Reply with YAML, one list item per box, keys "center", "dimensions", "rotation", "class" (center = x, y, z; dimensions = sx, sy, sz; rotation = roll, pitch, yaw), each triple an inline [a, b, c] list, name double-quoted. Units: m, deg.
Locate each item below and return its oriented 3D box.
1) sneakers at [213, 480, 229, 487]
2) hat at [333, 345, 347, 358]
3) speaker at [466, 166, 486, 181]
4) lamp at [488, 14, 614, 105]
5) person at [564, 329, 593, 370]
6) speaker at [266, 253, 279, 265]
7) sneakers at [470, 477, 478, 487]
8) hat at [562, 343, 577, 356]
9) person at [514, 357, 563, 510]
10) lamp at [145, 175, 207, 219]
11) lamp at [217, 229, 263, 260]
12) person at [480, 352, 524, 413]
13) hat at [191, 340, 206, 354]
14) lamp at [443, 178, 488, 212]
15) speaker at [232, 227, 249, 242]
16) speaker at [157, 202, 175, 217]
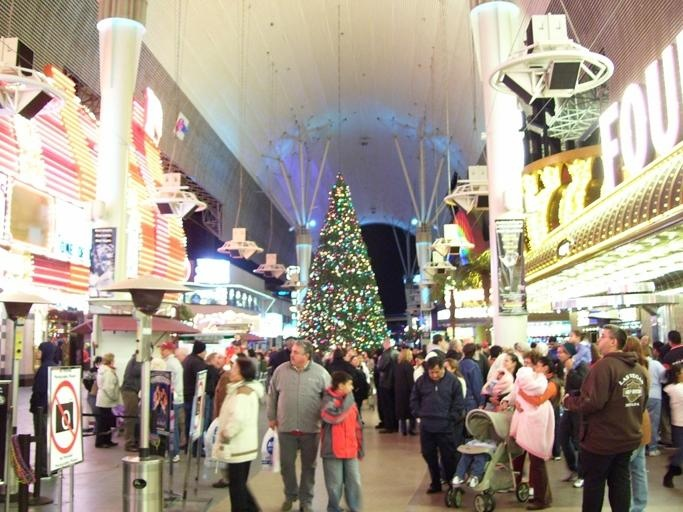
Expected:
- center: [-1.929, 3.635, 9.254]
  dimensions: [0.209, 0.090, 0.115]
  rotation: [2, -7, 13]
  class: "sneakers"
- center: [-0.012, 1.963, 11.883]
  dimensions: [0.233, 0.238, 0.230]
  rotation: [1, 3, -20]
  class: "hat"
- center: [3.914, -2.375, 16.652]
  dimensions: [0.435, 0.362, 0.473]
  rotation: [-1, 1, -5]
  class: "speaker"
- center: [3.610, -3.511, 10.255]
  dimensions: [1.837, 1.319, 1.942]
  rotation: [-9, 7, -5]
  class: "lamp"
- center: [4.038, 1.628, 10.007]
  dimensions: [0.387, 0.771, 0.529]
  rotation: [1, 4, -11]
  class: "person"
- center: [-4.342, 0.187, 35.907]
  dimensions: [0.670, 0.980, 0.517]
  rotation: [-1, -20, -5]
  class: "speaker"
- center: [1.774, 3.025, 7.774]
  dimensions: [0.167, 0.128, 0.078]
  rotation: [7, -17, -33]
  class: "sneakers"
- center: [3.795, 1.538, 9.648]
  dimensions: [0.200, 0.264, 0.271]
  rotation: [-1, -6, 10]
  class: "hat"
- center: [2.641, 2.378, 7.844]
  dimensions: [0.680, 1.988, 0.866]
  rotation: [-7, -15, 21]
  class: "person"
- center: [-4.737, -1.637, 16.707]
  dimensions: [1.368, 1.008, 1.348]
  rotation: [-3, 3, -44]
  class: "lamp"
- center: [-3.814, -0.592, 23.189]
  dimensions: [0.995, 0.725, 0.985]
  rotation: [-3, 21, -36]
  class: "lamp"
- center: [2.405, 1.899, 8.593]
  dimensions: [0.652, 0.949, 0.392]
  rotation: [10, -5, -8]
  class: "person"
- center: [-2.910, 1.862, 11.849]
  dimensions: [0.250, 0.264, 0.209]
  rotation: [-4, 3, 11]
  class: "hat"
- center: [3.681, -1.758, 16.844]
  dimensions: [0.976, 0.478, 1.017]
  rotation: [1, -1, -3]
  class: "lamp"
- center: [-4.110, -0.823, 23.198]
  dimensions: [0.481, 0.646, 0.493]
  rotation: [3, -15, -18]
  class: "speaker"
- center: [-5.040, -1.339, 16.692]
  dimensions: [0.354, 0.343, 0.096]
  rotation: [8, 14, 18]
  class: "speaker"
